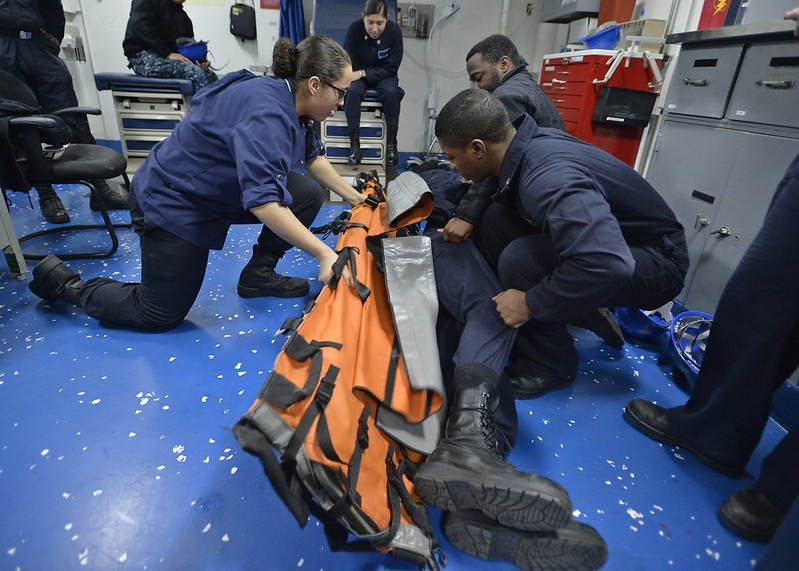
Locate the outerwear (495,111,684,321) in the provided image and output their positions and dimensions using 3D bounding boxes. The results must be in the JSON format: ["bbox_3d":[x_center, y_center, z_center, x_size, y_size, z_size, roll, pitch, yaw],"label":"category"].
[{"bbox_3d":[0.783,-0.316,2.233,0.783,0.897,0.962,-4,12,13],"label":"outerwear"}]

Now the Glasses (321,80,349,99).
[{"bbox_3d":[-0.297,-0.894,2.179,0.147,0.045,0.147,17,22,5],"label":"Glasses"}]

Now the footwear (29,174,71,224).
[{"bbox_3d":[-2.500,-0.604,3.417,0.122,0.157,0.368,-29,73,-40],"label":"footwear"}]

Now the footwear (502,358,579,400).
[{"bbox_3d":[0.655,0.410,2.291,0.384,0.189,0.150,-6,38,-23],"label":"footwear"}]

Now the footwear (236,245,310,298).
[{"bbox_3d":[-0.732,-0.131,2.946,0.493,0.373,0.205,-5,29,-21],"label":"footwear"}]

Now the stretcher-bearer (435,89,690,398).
[{"bbox_3d":[0.780,-0.252,2.429,1.047,1.447,1.062,-23,32,-30],"label":"stretcher-bearer"}]

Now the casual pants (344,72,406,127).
[{"bbox_3d":[-0.238,-1.763,4.526,0.426,0.476,0.607,0,22,0],"label":"casual pants"}]

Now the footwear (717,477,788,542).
[{"bbox_3d":[1.298,0.834,1.787,0.270,0.130,0.116,2,7,-23],"label":"footwear"}]
